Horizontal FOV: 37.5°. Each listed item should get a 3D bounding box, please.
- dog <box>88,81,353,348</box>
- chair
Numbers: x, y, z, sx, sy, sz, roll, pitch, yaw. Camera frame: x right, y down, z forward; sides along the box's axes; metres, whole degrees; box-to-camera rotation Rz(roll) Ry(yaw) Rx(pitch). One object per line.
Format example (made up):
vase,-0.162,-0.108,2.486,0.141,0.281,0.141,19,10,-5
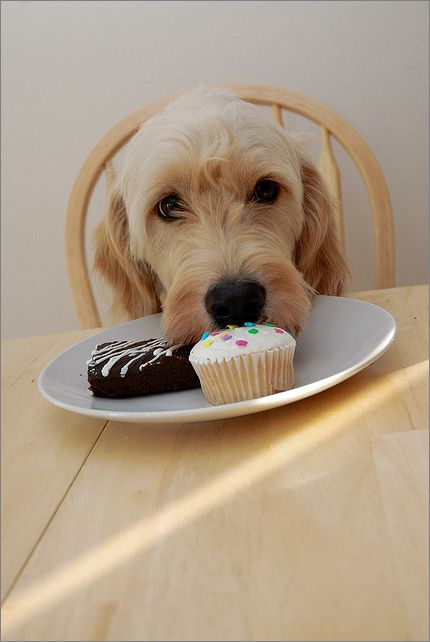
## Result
dog,0.012,-0.188,1.604,0.578,0.481,0.716,-8,57,6
chair,0.203,-0.445,2.743,1.163,1.300,1.007,-7,15,-1
